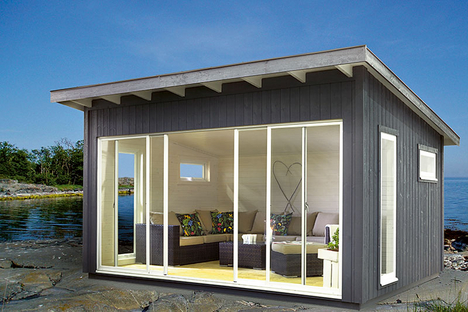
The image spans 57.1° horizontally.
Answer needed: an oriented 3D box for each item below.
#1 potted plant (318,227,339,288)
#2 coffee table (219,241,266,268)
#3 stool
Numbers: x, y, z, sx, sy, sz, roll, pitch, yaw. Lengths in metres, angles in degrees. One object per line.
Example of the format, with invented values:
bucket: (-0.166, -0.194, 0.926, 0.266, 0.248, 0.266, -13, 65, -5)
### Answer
potted plant: (1.948, 2.027, 8.707, 0.404, 1.095, 0.551, 1, 1, 10)
coffee table: (0.233, 2.248, 9.799, 0.829, 0.427, 0.459, -5, -8, 39)
stool: (1.264, 2.083, 8.725, 1.045, 0.695, 0.215, -1, -1, 7)
